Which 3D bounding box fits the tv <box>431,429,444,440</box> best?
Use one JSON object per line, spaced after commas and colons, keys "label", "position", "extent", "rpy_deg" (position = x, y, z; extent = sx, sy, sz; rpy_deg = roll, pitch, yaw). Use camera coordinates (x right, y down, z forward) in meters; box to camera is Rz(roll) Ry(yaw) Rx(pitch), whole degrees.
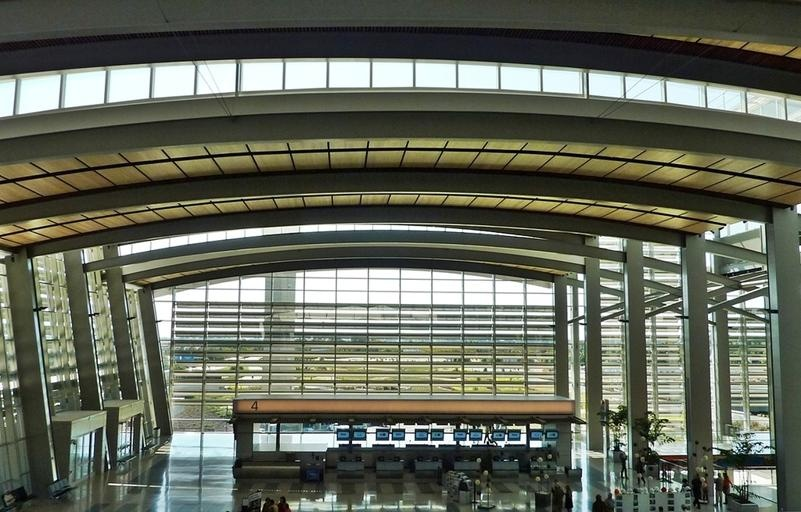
{"label": "tv", "position": [2.022, 9.718, 45.296], "extent": [0.734, 0.449, 0.307], "rpy_deg": [0, -21, -2]}

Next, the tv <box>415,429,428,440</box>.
{"label": "tv", "position": [1.147, 9.602, 44.986], "extent": [0.796, 0.470, 0.337], "rpy_deg": [1, -9, -2]}

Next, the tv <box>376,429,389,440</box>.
{"label": "tv", "position": [-0.955, 9.554, 44.716], "extent": [0.799, 0.480, 0.334], "rpy_deg": [1, -8, -4]}

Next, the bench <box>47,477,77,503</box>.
{"label": "bench", "position": [-16.359, 11.301, 40.165], "extent": [1.318, 0.616, 1.661], "rpy_deg": [-10, -5, 5]}

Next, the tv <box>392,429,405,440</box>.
{"label": "tv", "position": [-0.016, 9.636, 44.869], "extent": [0.804, 0.520, 0.615], "rpy_deg": [0, -9, -2]}

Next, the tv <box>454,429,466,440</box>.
{"label": "tv", "position": [3.267, 9.746, 45.433], "extent": [0.759, 0.490, 0.324], "rpy_deg": [0, -11, 1]}
